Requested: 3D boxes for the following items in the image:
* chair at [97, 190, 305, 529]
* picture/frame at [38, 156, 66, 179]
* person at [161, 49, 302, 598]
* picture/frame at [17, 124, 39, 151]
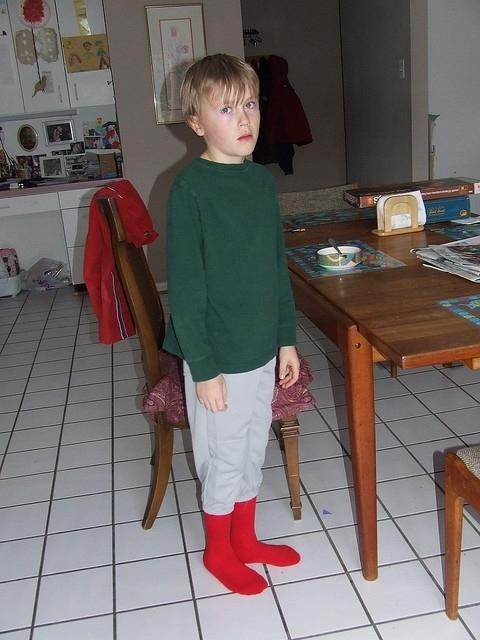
[{"bbox_3d":[-0.082,0.107,1.544,0.568,0.956,0.514,-3,16,-6],"label":"chair"},{"bbox_3d":[-1.776,-1.449,4.629,0.239,0.197,0.126,0,13,-7],"label":"picture/frame"},{"bbox_3d":[0.010,0.076,1.119,0.342,1.222,0.276,-13,22,-19],"label":"person"},{"bbox_3d":[-1.983,-1.705,4.559,0.237,0.286,0.033,-1,26,-5],"label":"picture/frame"}]
